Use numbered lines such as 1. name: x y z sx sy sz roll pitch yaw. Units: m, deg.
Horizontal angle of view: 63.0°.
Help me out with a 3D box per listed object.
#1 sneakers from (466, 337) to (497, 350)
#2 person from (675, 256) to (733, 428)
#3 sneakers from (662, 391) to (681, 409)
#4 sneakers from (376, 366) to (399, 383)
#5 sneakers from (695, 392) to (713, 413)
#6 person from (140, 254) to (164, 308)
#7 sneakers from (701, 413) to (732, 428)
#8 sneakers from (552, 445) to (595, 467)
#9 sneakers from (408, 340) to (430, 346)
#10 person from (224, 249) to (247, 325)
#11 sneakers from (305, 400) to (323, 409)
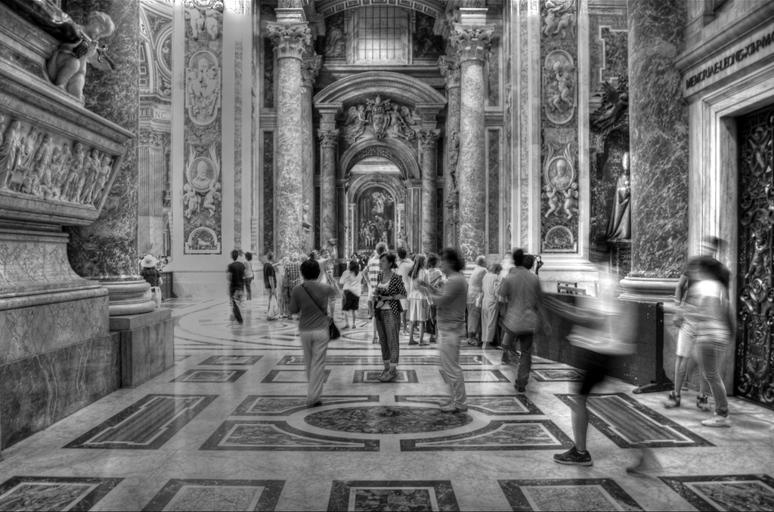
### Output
1. sneakers: 1.826 1.716 12.302 0.197 0.281 0.654 4 -16 -22
2. person: 3.644 0.958 7.204 0.508 1.903 0.505 2 4 30
3. sneakers: 3.544 1.816 7.858 0.122 0.154 0.348 -14 -18 38
4. sneakers: -0.017 1.710 9.046 0.209 0.096 0.213 -3 1 44
5. sneakers: 3.861 1.805 7.706 0.106 0.130 0.315 -5 -7 7
6. person: -6.244 0.654 16.820 0.527 1.476 0.512 -4 14 -15
7. sneakers: 3.678 1.875 7.122 0.340 0.156 0.132 1 -2 3
8. sneakers: 1.797 1.950 6.130 0.378 0.195 0.156 2 -4 7
9. sneakers: 0.633 1.702 12.362 0.389 0.175 0.136 -3 0 1
10. person: -3.610 0.748 15.128 0.374 1.709 0.915 -1 4 -15
11. sneakers: -0.887 1.835 7.733 0.211 0.096 0.074 -1 5 -12
